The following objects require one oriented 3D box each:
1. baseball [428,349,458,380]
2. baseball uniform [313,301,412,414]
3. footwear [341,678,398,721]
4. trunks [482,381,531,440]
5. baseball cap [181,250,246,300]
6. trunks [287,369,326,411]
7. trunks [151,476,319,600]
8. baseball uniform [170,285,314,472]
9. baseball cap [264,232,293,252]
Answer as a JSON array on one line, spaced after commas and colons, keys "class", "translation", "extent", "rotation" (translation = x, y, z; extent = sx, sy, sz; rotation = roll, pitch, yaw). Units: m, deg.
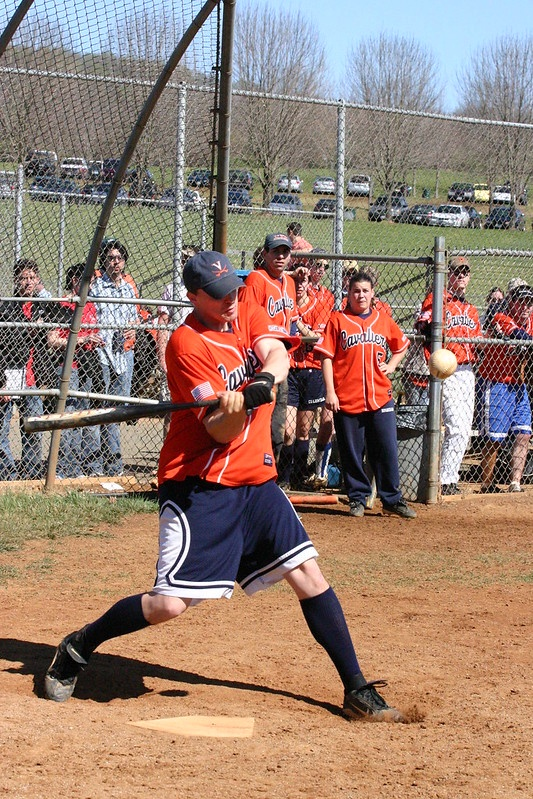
[{"class": "baseball", "translation": [1.214, -0.232, 6.319], "extent": [0.169, 0.205, 0.275], "rotation": [3, 6, 20]}, {"class": "baseball uniform", "translation": [0.687, -0.301, 6.844], "extent": [0.983, 0.912, 0.479], "rotation": [2, -4, -12]}, {"class": "footwear", "translation": [0.358, 1.073, 3.308], "extent": [0.262, 0.152, 0.091], "rotation": [-1, 1, 22]}, {"class": "trunks", "translation": [2.051, 0.107, 7.868], "extent": [0.494, 0.491, 0.289], "rotation": [4, -7, -35]}, {"class": "baseball cap", "translation": [-0.197, -0.410, 3.141], "extent": [0.146, 0.115, 0.205], "rotation": [-33, 36, -33]}, {"class": "trunks", "translation": [0.317, -0.088, 7.359], "extent": [0.327, 0.305, 0.183], "rotation": [-2, 8, -11]}, {"class": "trunks", "translation": [-0.111, 0.490, 3.223], "extent": [0.554, 0.440, 0.238], "rotation": [0, 7, -8]}, {"class": "baseball uniform", "translation": [-0.097, -0.030, 3.200], "extent": [0.453, 0.662, 0.483], "rotation": [-4, 8, -37]}, {"class": "baseball cap", "translation": [0.084, -1.084, 6.366], "extent": [0.175, 0.131, 0.241], "rotation": [0, 6, -4]}]
